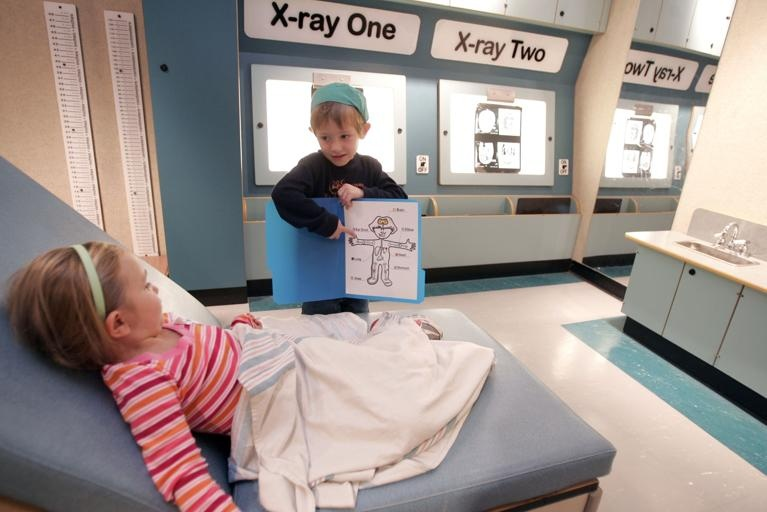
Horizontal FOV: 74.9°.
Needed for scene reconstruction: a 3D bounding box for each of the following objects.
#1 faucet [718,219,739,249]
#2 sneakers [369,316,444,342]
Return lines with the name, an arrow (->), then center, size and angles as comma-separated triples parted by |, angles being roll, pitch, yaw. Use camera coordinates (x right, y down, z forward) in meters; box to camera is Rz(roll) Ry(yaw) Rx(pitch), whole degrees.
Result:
faucet -> 2.589, -0.164, 3.762 | 0.174, 0.229, 0.078 | -22, 36, -19
sneakers -> 0.179, 0.403, 2.783 | 0.241, 0.078, 0.177 | 9, 15, -15
